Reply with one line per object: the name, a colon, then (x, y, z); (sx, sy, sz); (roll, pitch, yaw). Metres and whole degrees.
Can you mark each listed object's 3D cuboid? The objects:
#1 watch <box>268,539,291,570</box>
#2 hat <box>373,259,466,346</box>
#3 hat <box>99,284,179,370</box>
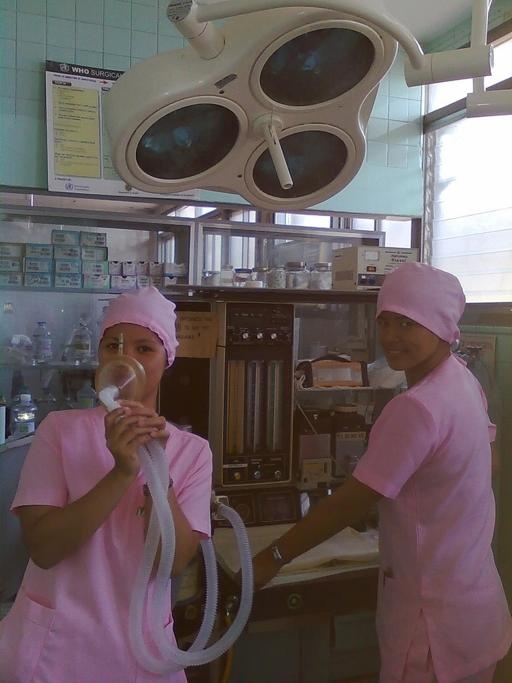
watch: (0.043, 0.426, 1.146); (0.020, 0.041, 0.050); (-20, 18, -18)
hat: (0.376, -0.090, 1.303); (0.217, 0.159, 0.151); (15, -2, -30)
hat: (-0.191, -0.035, 0.944); (0.070, 0.091, 0.073); (14, -34, -10)
